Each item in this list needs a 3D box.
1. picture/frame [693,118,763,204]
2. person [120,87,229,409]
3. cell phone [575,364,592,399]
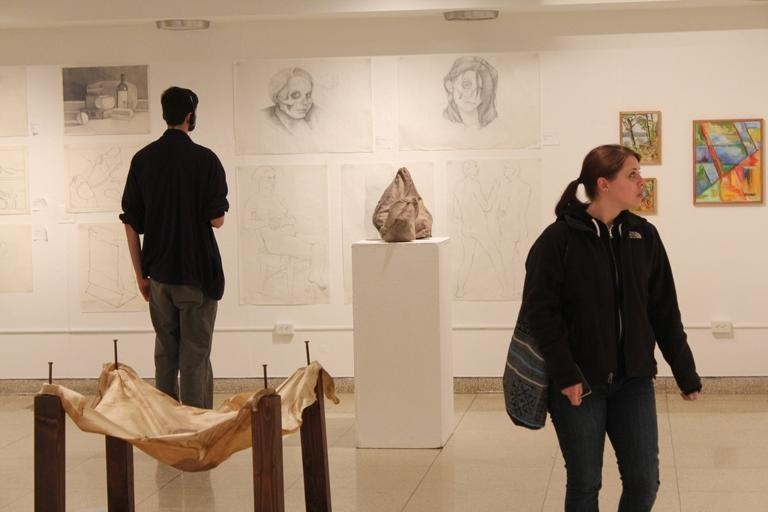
[{"bbox_3d":[3.657,-1.014,7.564,0.910,1.153,0.074,0,-2,5],"label":"picture/frame"},{"bbox_3d":[-1.790,-0.063,6.133,0.810,2.699,0.495,2,7,29],"label":"person"},{"bbox_3d":[1.148,0.741,4.148,0.084,0.192,0.098,2,7,24],"label":"cell phone"}]
